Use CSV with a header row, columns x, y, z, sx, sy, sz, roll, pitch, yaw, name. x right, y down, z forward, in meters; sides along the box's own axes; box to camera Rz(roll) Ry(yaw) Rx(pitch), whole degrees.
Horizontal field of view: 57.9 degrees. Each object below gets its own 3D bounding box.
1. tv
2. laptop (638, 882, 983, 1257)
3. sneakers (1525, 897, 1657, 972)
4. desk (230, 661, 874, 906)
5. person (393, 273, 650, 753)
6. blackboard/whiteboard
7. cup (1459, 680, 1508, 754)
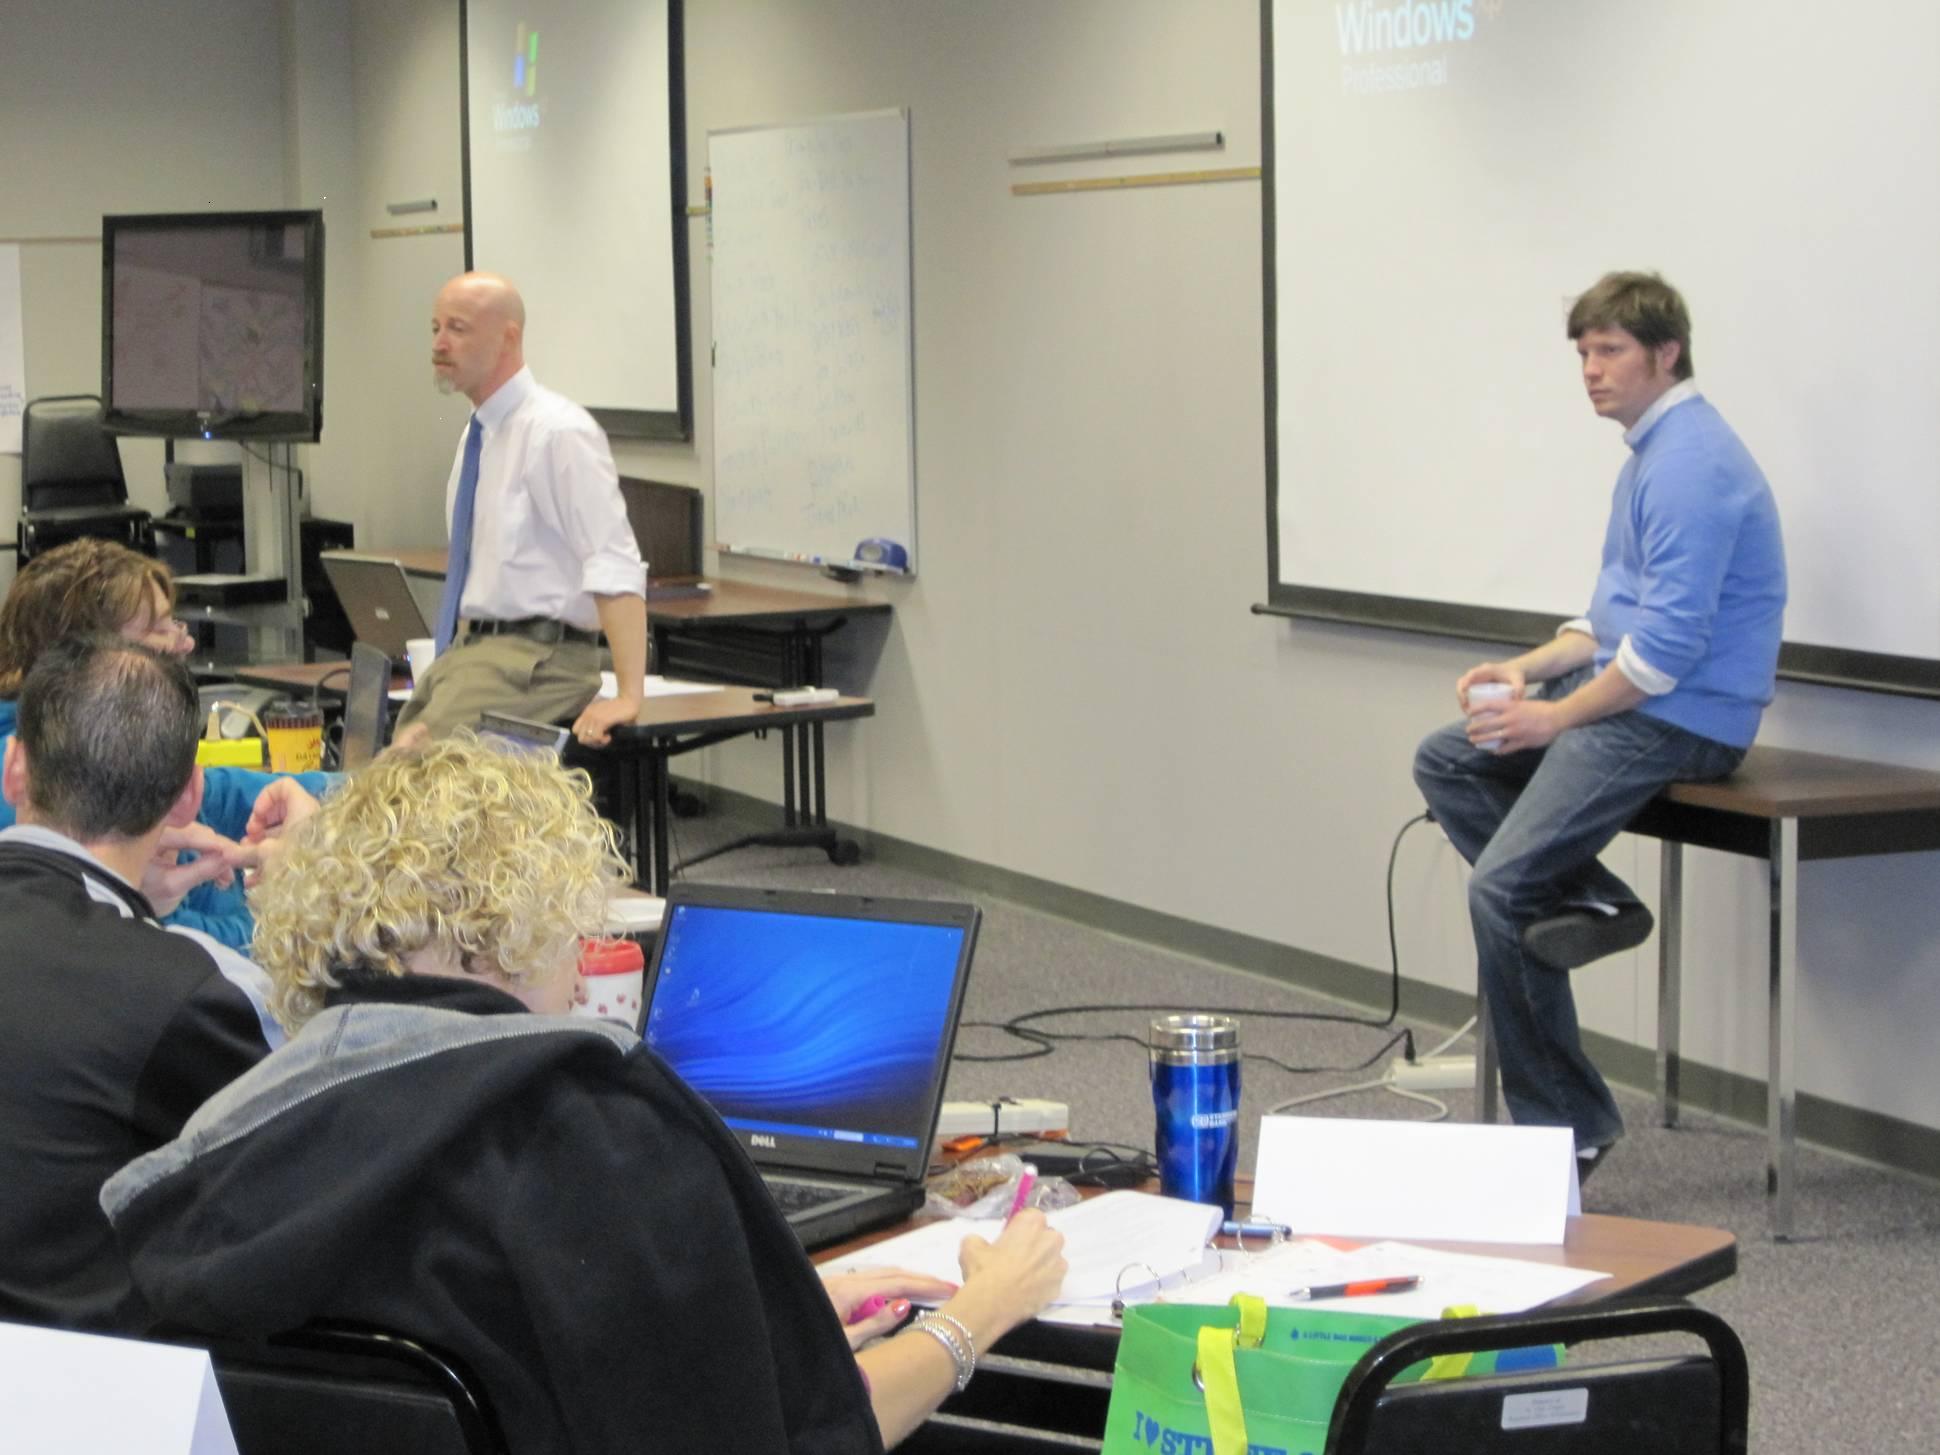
x,y,z,sx,sy,sz,roll,pitch,yaw,name
-3.632,-1.943,8.449,1.098,0.959,0.134,4,8,21,tv
-0.180,0.358,2.192,0.412,0.306,0.376,5,4,24,laptop
1.347,0.420,3.851,0.378,0.131,0.151,-9,3,-28,sneakers
-1.074,0.082,6.789,1.309,0.942,0.773,-8,3,-4,desk
-1.207,-0.544,4.554,0.637,1.237,0.559,-8,12,-25,person
-0.576,-1.518,6.726,0.096,2.133,1.833,-3,3,-30,blackboard/whiteboard
1.179,-0.035,3.939,0.117,0.125,0.159,-3,6,-13,cup
